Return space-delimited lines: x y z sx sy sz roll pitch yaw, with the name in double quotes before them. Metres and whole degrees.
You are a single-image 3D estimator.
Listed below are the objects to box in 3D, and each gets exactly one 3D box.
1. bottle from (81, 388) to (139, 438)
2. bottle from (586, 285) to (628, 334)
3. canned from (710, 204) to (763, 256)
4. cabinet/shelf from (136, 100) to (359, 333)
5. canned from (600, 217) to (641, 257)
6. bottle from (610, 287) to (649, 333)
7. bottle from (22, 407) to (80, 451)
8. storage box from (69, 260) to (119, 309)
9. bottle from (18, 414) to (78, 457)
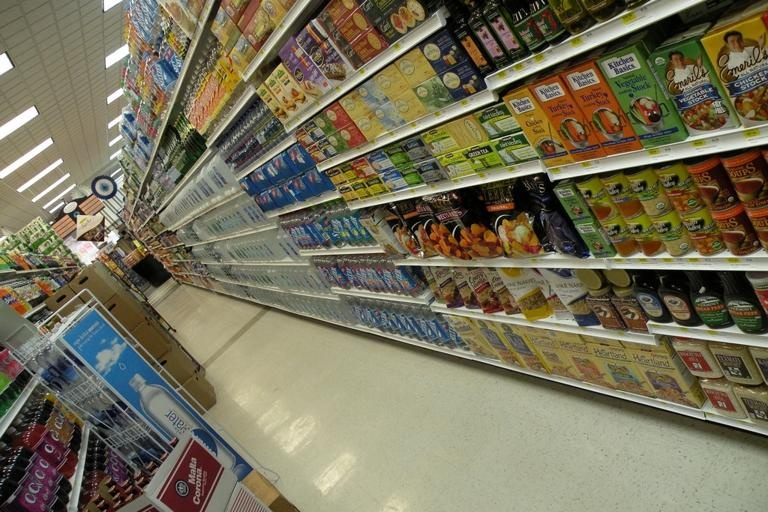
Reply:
"bottle" -2.203 1.225 3.515 0.265 0.491 0.111 -51 5 5
"bottle" 1.320 0.340 2.634 0.228 0.286 0.206 3 -19 -16
"canned" 1.581 -0.123 1.929 0.151 0.223 0.144 -28 11 17
"cabinet/shelf" -1.912 -0.459 5.792 0.753 1.226 5.274 -43 20 -17
"canned" 1.256 -0.099 2.307 0.157 0.221 0.149 -11 -6 -29
"bottle" 1.451 0.325 2.504 0.191 0.229 0.172 -11 -5 -2
"bottle" -2.110 1.091 2.754 0.282 0.080 0.271 -32 4 2
"storage box" -4.640 0.438 6.911 0.348 0.487 0.500 -56 9 -36
"bottle" -2.065 1.074 2.668 0.169 0.226 0.144 2 -21 5
